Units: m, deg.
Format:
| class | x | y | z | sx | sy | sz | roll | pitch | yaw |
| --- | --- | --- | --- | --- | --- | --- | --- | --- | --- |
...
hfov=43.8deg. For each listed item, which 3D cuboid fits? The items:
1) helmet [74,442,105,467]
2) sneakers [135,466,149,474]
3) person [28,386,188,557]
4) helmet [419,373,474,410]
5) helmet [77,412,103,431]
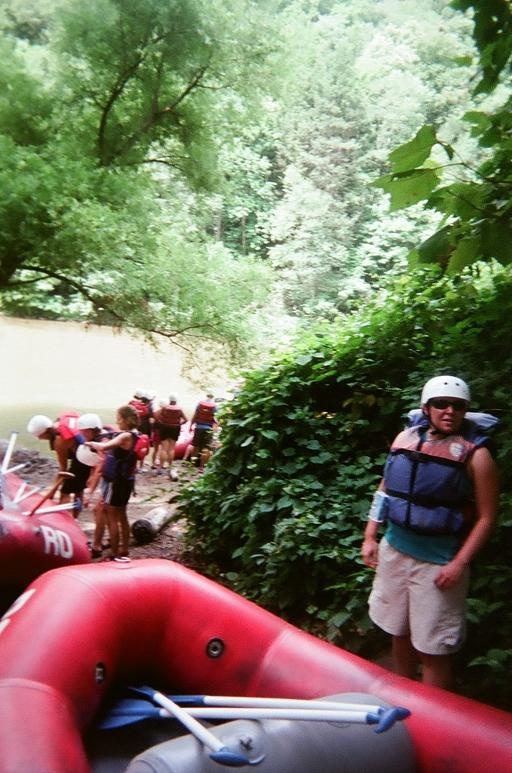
| class | x | y | z | sx | sy | sz | roll | pitch | yaw |
| --- | --- | --- | --- | --- | --- | --- | --- | --- | --- |
| helmet | -1.524 | 0.622 | 5.899 | 0.273 | 0.219 | 0.200 | -18 | 29 | -38 |
| sneakers | -2.147 | 1.581 | 12.006 | 0.197 | 0.082 | 0.275 | -7 | 1 | 24 |
| person | -1.491 | 0.774 | 6.148 | 0.731 | 1.576 | 1.425 | -10 | 4 | 38 |
| helmet | 0.801 | 0.024 | 2.659 | 0.135 | 0.116 | 0.161 | 3 | -12 | -1 |
| helmet | -1.605 | 0.341 | 6.130 | 0.218 | 0.151 | 0.153 | -21 | 32 | -40 |
